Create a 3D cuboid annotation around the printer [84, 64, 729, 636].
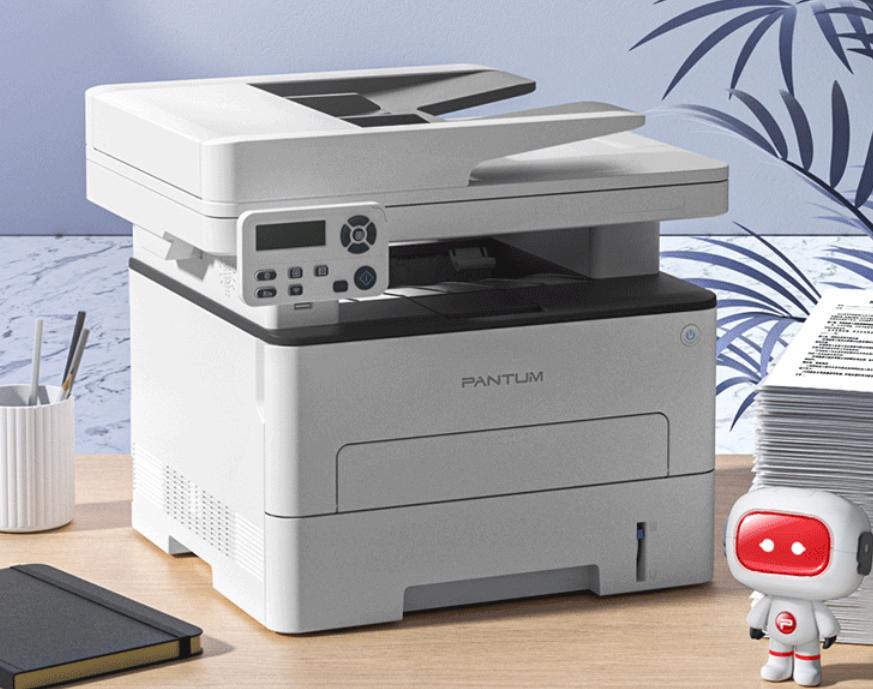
[{"bbox_3d":[-0.044,-0.022,1.480,0.753,0.558,0.701,-5,12,-24],"label":"printer"}]
